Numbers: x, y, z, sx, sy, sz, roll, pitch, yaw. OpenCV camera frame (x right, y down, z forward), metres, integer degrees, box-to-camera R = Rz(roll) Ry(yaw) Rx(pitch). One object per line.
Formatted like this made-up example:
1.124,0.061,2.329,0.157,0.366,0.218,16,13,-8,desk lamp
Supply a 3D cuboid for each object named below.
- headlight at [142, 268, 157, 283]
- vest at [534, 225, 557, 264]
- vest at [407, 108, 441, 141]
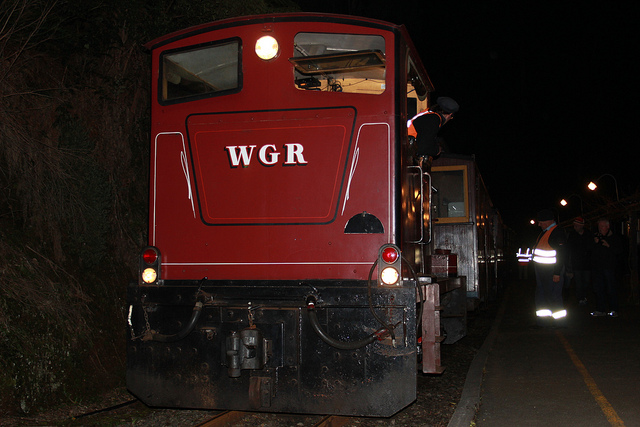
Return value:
-2.087,0.751,6.347,0.156,0.170,0.042,0,-10,5,headlight
5.351,0.754,12.336,0.466,0.915,0.670,9,-11,7,vest
1.429,-1.256,7.326,0.442,0.439,0.336,11,2,-6,vest
